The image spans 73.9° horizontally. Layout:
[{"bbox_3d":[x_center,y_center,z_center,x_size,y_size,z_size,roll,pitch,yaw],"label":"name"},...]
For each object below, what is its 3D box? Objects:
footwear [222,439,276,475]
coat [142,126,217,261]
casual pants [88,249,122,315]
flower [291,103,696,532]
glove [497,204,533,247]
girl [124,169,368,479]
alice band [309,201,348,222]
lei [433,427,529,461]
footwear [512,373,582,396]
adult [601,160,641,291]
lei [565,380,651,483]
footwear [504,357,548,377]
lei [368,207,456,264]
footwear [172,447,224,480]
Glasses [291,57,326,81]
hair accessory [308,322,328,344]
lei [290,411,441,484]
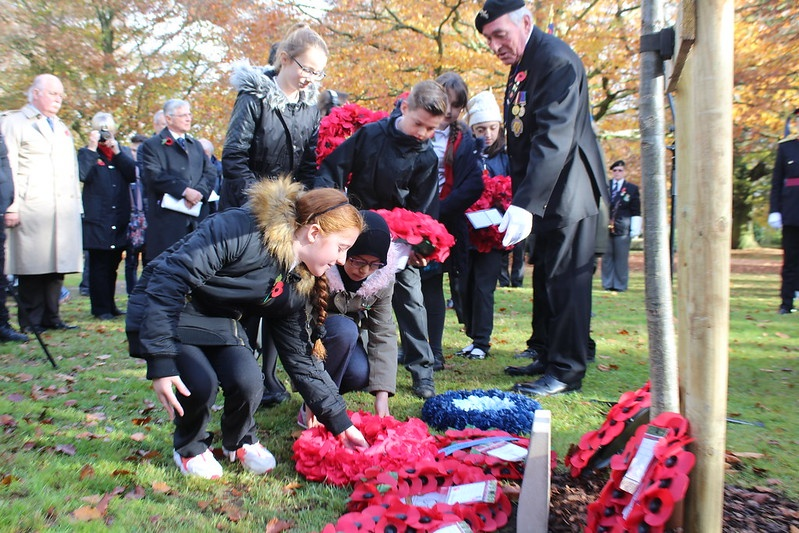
[{"bbox_3d":[-0.884,1.095,3.099,0.319,0.138,0.165,9,44,29],"label":"footwear"},{"bbox_3d":[-2.631,-0.739,6.476,0.683,1.804,0.831,5,9,42],"label":"coat"},{"bbox_3d":[-3.806,0.223,6.837,0.383,0.877,0.343,-2,1,-40],"label":"casual pants"},{"bbox_3d":[0.529,0.285,3.602,2.174,2.643,1.052,9,-17,-19],"label":"flower"},{"bbox_3d":[0.823,-0.272,3.812,0.206,0.317,0.087,17,-28,5],"label":"glove"},{"bbox_3d":[-0.909,0.380,3.256,1.604,1.666,1.125,5,-7,-41],"label":"girl"},{"bbox_3d":[-0.407,-0.312,2.983,0.157,0.032,0.120,-21,7,-1],"label":"alice band"},{"bbox_3d":[0.479,1.018,3.028,0.483,0.077,0.335,-1,0,17],"label":"lei"},{"bbox_3d":[1.173,0.936,4.190,0.524,0.145,0.179,3,-13,-9],"label":"footwear"},{"bbox_3d":[4.536,-0.839,11.101,0.995,2.782,0.869,2,1,30],"label":"adult"},{"bbox_3d":[1.105,0.839,2.798,0.133,0.415,0.549,40,18,17],"label":"lei"},{"bbox_3d":[1.128,0.894,4.723,0.412,0.155,0.132,5,-4,-4],"label":"footwear"},{"bbox_3d":[0.104,-0.172,3.935,0.462,0.237,0.460,18,-6,31],"label":"lei"},{"bbox_3d":[-1.123,1.094,2.966,0.269,0.107,0.126,6,31,13],"label":"footwear"},{"bbox_3d":[-0.675,-1.469,3.986,0.150,0.046,0.152,48,22,21],"label":"Glasses"},{"bbox_3d":[-0.527,0.426,3.410,0.096,0.119,0.050,4,4,5],"label":"hair accessory"},{"bbox_3d":[-0.200,1.044,3.044,0.458,0.156,0.435,-1,3,-12],"label":"lei"}]
